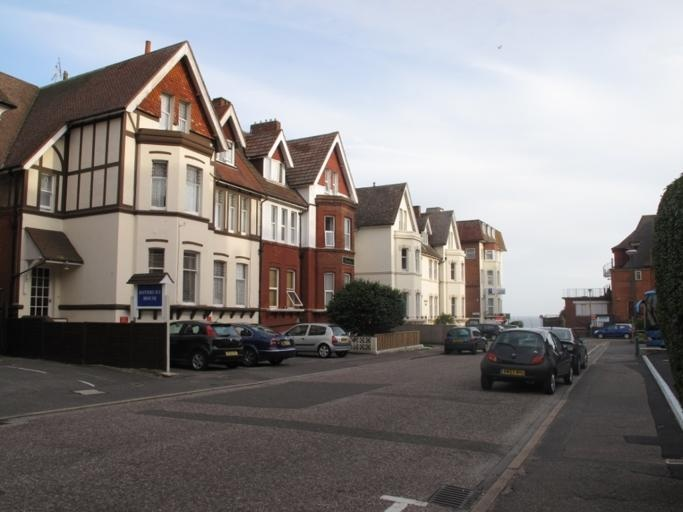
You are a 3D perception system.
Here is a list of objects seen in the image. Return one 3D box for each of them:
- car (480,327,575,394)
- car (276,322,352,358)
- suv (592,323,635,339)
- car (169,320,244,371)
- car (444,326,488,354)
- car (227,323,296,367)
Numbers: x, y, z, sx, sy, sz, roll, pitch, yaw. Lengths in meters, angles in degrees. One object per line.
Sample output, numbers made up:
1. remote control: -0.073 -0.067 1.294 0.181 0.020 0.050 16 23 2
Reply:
1. car: 5.474 2.971 18.427 2.686 1.837 1.656 7 -11 -38
2. car: -1.009 3.847 30.109 2.536 1.264 1.542 3 -1 26
3. suv: 27.638 7.542 65.094 3.448 1.695 5.870 -4 -10 21
4. car: -4.908 3.215 23.094 2.427 1.266 1.477 0 -3 32
5. car: 6.883 4.584 35.037 1.214 1.023 2.264 -2 -1 23
6. car: -3.118 3.462 25.268 2.428 0.926 1.211 0 -4 23
